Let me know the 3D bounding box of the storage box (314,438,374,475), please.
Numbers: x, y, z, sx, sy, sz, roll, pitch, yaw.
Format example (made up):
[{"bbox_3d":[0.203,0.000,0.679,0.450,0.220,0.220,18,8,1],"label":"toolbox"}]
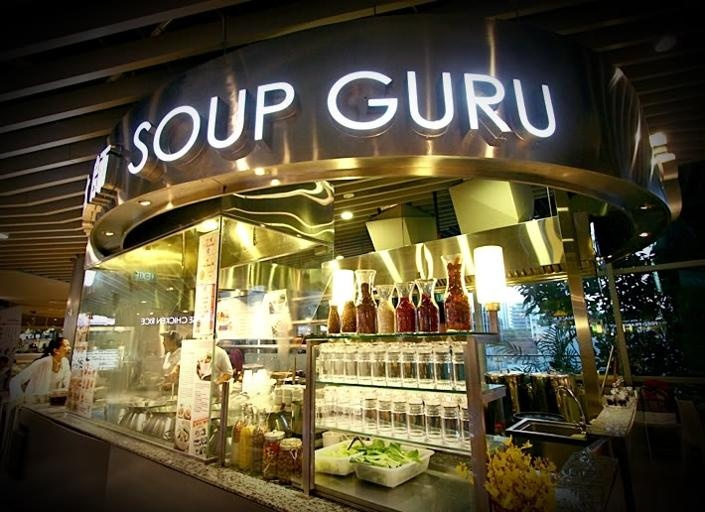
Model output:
[{"bbox_3d":[-0.121,1.553,3.515,0.232,0.111,0.355,-6,-16,26],"label":"storage box"}]

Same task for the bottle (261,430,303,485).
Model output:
[{"bbox_3d":[-0.562,1.598,3.552,0.307,0.351,0.326,4,-17,-13],"label":"bottle"}]

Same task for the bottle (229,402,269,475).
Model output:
[{"bbox_3d":[-0.862,1.520,3.742,0.374,0.468,0.228,-1,6,27],"label":"bottle"}]

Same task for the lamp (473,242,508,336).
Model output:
[{"bbox_3d":[1.018,0.244,3.291,0.206,0.626,0.230,-2,5,17],"label":"lamp"}]
